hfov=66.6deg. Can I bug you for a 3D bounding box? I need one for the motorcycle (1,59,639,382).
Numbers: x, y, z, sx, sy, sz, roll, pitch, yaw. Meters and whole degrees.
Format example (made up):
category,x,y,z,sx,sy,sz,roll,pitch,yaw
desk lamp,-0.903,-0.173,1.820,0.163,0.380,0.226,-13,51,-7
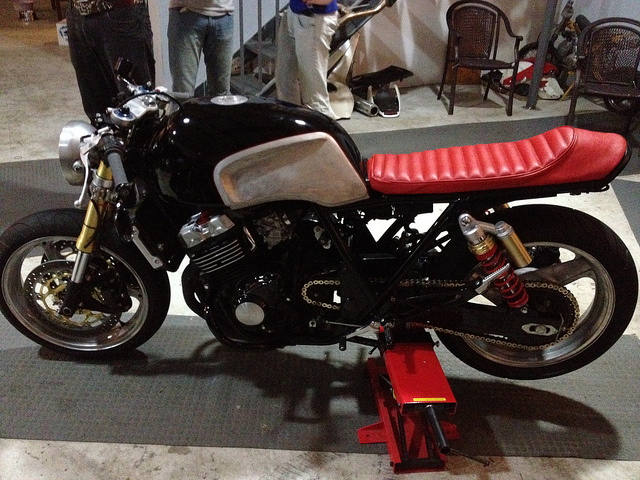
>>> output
category,x,y,z,sx,sy,sz,roll,pitch,yaw
motorcycle,-0.550,-0.243,2.699,3.794,1.620,1.305,3,26,4
